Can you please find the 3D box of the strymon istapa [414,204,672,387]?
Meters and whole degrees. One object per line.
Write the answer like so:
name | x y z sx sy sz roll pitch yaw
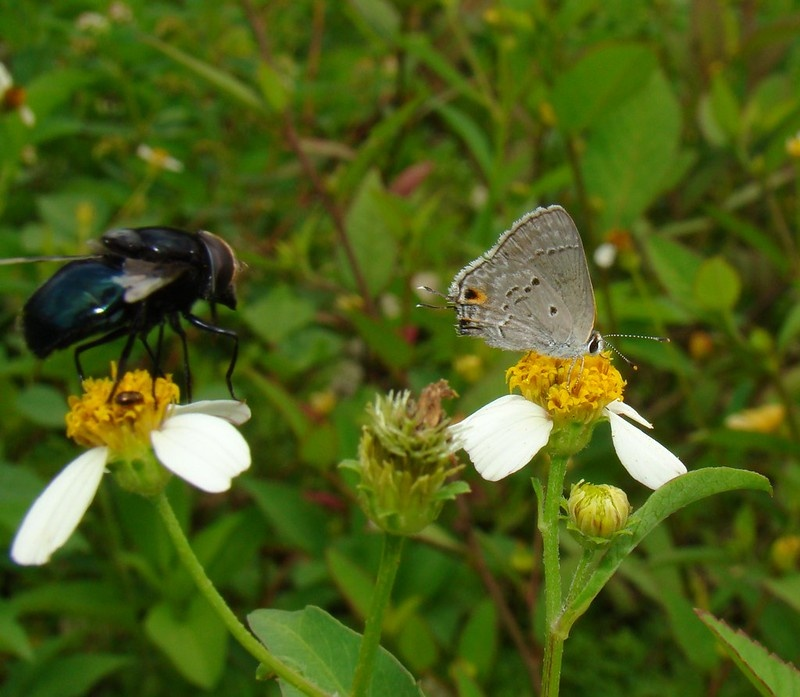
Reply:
strymon istapa | 0.351 -0.147 1.843 0.548 0.359 0.383 11 108 7

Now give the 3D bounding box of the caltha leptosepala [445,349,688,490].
caltha leptosepala | 0.319 0.118 1.539 0.437 0.461 0.161 -5 106 -13

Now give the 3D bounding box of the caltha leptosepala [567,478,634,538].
caltha leptosepala | 0.348 0.291 1.381 0.117 0.112 0.102 -5 101 -10

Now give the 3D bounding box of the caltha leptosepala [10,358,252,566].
caltha leptosepala | -0.489 0.167 1.419 0.422 0.221 0.311 -22 78 -1
